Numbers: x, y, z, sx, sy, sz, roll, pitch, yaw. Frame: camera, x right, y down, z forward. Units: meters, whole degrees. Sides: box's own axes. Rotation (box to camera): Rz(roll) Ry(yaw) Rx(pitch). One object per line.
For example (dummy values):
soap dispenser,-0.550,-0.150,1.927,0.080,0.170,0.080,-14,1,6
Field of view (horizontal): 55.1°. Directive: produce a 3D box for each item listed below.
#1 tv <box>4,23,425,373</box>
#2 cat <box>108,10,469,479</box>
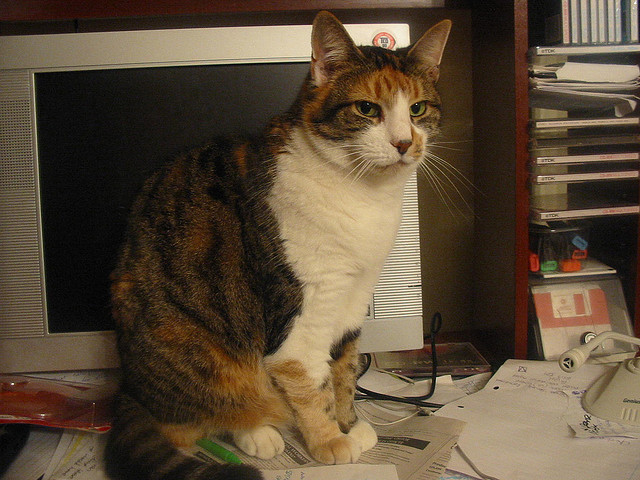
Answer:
tv,-0.232,-0.100,1.221,0.773,0.607,0.054,-1,-1,-2
cat,-0.077,0.003,1.211,0.688,0.866,0.226,-1,2,-11
